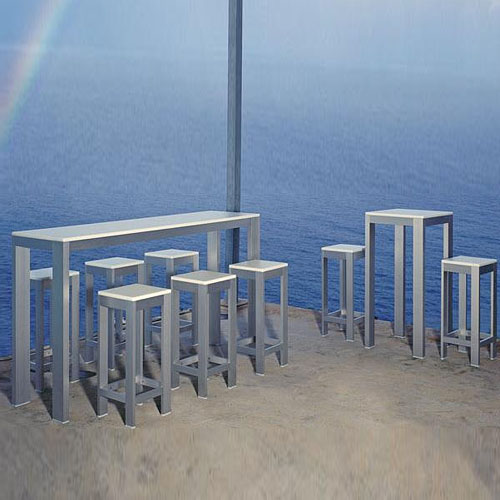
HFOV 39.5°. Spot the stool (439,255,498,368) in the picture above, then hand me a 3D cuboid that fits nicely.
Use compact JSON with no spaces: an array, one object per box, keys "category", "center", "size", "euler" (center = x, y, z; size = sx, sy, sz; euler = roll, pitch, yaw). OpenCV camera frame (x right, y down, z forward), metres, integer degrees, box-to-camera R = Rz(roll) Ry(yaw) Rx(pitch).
[{"category":"stool","center":[1.490,0.383,4.760],"size":[0.362,0.677,0.784],"euler":[-1,3,20]}]

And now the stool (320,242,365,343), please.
[{"category":"stool","center":[0.697,0.308,5.331],"size":[0.332,0.686,0.758],"euler":[-2,3,6]}]
